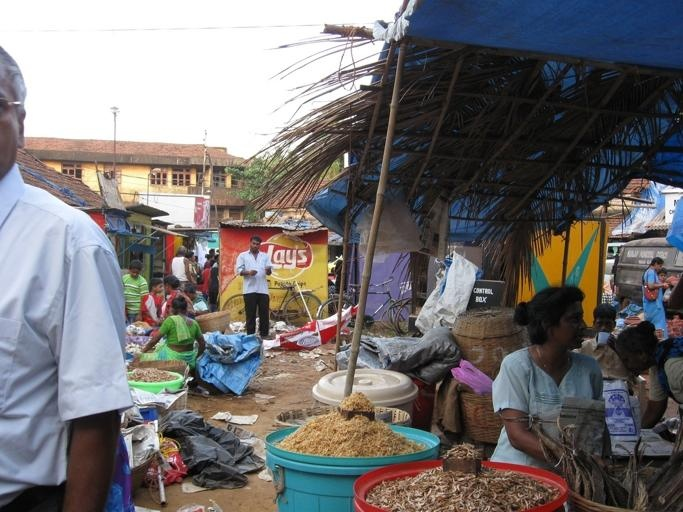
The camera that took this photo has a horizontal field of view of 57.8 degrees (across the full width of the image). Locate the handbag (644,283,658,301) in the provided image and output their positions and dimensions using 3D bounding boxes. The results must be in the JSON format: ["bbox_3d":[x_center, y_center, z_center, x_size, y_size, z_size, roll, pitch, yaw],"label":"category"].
[{"bbox_3d":[5.739,0.678,11.391,0.231,0.288,0.228,0,-1,22],"label":"handbag"}]

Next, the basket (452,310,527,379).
[{"bbox_3d":[1.326,0.781,5.751,0.612,0.524,0.614,1,4,35],"label":"basket"}]

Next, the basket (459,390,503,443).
[{"bbox_3d":[1.192,1.412,5.472,0.434,0.308,0.458,1,-6,-8],"label":"basket"}]

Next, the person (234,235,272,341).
[{"bbox_3d":[-1.773,0.633,12.552,0.622,2.111,0.887,0,0,17],"label":"person"}]

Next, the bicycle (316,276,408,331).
[{"bbox_3d":[0.715,1.263,14.871,2.571,1.394,1.166,0,9,14],"label":"bicycle"}]

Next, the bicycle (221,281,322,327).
[{"bbox_3d":[-1.807,1.367,15.103,1.090,1.410,2.619,2,-7,36],"label":"bicycle"}]

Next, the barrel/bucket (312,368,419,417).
[{"bbox_3d":[0.219,0.977,4.701,0.542,0.189,0.543,1,-3,0],"label":"barrel/bucket"}]

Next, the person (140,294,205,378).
[{"bbox_3d":[-2.274,1.086,8.274,0.754,1.068,0.913,0,-1,-3],"label":"person"}]
